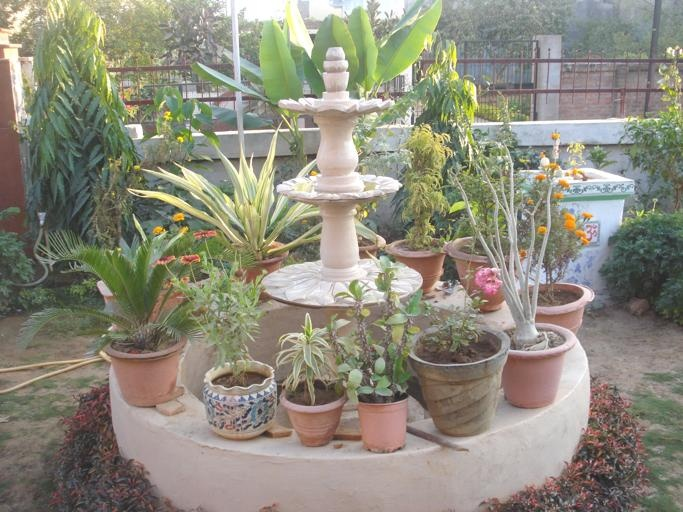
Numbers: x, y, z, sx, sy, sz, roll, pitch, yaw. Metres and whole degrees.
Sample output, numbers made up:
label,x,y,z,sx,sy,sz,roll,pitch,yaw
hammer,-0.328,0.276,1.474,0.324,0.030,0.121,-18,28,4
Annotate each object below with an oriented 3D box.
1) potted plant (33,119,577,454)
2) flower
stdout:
label,x,y,z,sx,sy,sz,roll,pitch,yaw
potted plant,-0.248,0.105,3.546,2.714,1.892,1.702,6,15,21
flower,1.643,-0.151,4.175,0.422,0.904,0.382,6,4,1
